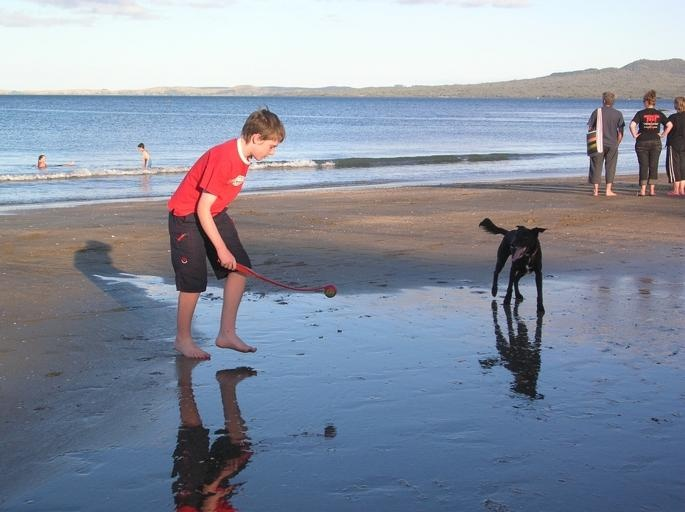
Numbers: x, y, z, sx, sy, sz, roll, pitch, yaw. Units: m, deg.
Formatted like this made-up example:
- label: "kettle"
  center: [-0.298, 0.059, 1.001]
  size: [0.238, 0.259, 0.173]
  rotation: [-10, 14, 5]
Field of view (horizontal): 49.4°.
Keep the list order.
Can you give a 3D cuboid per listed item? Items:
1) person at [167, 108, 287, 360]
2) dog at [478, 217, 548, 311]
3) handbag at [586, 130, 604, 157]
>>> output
- label: "person"
  center: [-0.971, -0.160, 6.115]
  size: [1.049, 2.038, 0.771]
  rotation: [-6, 16, -8]
- label: "dog"
  center: [1.932, 0.034, 8.505]
  size: [0.763, 0.844, 1.726]
  rotation: [10, 10, -2]
- label: "handbag"
  center: [5.125, -2.274, 15.161]
  size: [0.190, 0.520, 0.347]
  rotation: [-18, 20, -39]
